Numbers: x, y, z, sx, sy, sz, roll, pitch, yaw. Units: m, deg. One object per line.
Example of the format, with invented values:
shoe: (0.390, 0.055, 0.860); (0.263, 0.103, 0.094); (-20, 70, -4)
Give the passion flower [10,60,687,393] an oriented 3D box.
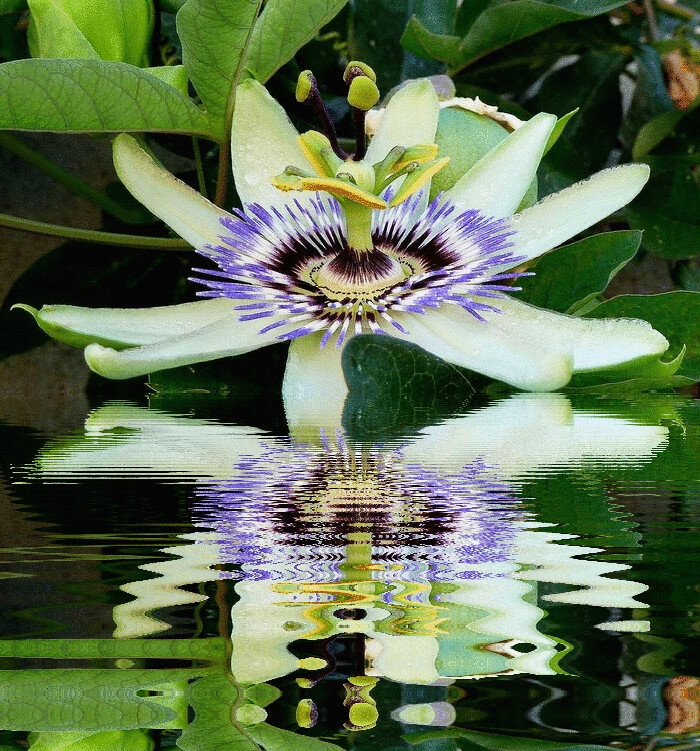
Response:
passion flower: (0.016, -0.138, 1.289); (0.533, 0.456, 0.152); (3, 103, 11)
